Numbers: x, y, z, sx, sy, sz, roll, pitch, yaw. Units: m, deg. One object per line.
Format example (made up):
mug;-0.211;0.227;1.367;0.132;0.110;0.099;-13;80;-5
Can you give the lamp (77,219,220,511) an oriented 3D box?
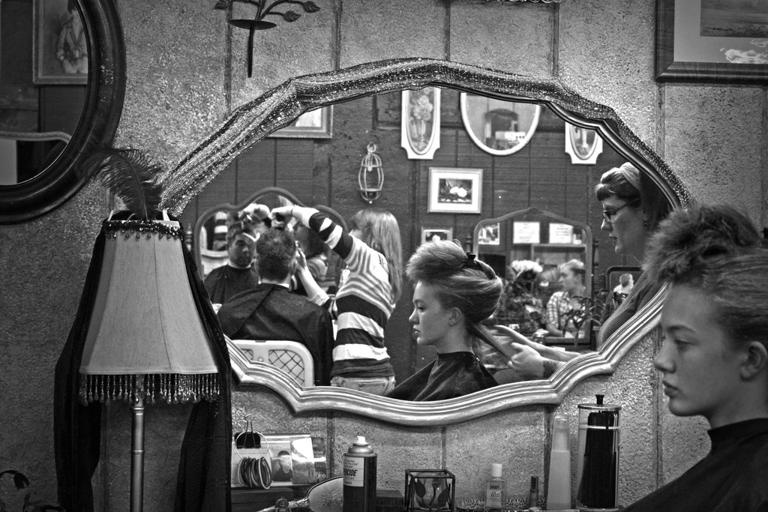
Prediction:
lamp;-0.708;0.330;5.630;0.452;0.915;0.244;1;-7;-4

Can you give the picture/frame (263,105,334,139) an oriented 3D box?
picture/frame;-0.280;-0.425;5.832;0.220;0.104;0.048;-7;0;-3

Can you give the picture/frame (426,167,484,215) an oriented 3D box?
picture/frame;0.219;-0.212;5.848;0.169;0.126;0.012;2;-1;-9

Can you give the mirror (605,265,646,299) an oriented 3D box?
mirror;0.761;0.083;5.904;0.100;0.091;0.022;-6;17;-6

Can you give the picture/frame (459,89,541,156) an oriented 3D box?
picture/frame;0.364;-0.423;5.884;0.231;0.165;0.015;-6;2;-17

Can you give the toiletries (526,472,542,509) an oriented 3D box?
toiletries;0.486;0.766;5.899;0.041;0.108;0.069;0;-7;5

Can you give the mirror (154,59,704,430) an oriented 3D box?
mirror;0.067;-0.019;5.815;1.335;0.748;0.029;2;-2;-7

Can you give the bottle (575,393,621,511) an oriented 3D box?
bottle;0.675;0.631;5.829;0.147;0.364;0.099;-2;-8;23
